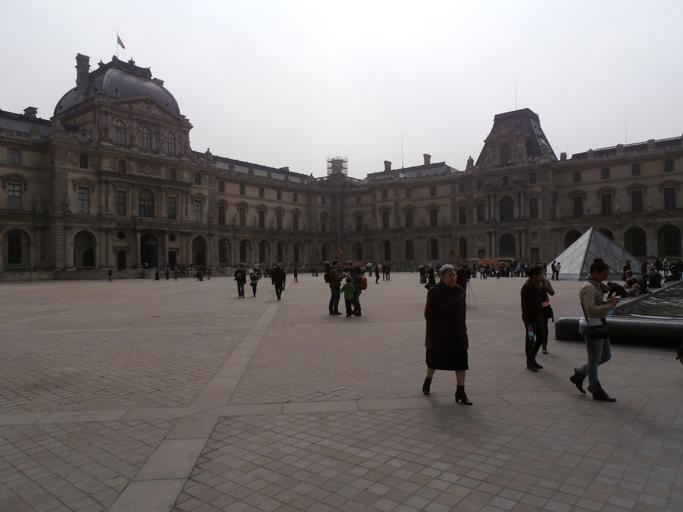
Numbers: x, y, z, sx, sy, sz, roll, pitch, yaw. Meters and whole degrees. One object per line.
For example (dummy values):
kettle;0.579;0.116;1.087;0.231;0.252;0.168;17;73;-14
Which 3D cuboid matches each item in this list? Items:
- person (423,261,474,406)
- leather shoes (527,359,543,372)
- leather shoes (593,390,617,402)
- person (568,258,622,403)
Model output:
person;1.798;1.275;10.253;0.819;2.288;1.137;1;14;8
leather shoes;3.704;2.113;11.698;0.366;0.250;0.132;-2;2;8
leather shoes;4.326;2.317;10.081;0.451;0.186;0.150;-2;-2;4
person;4.281;1.212;10.197;0.683;2.306;0.957;3;14;14
